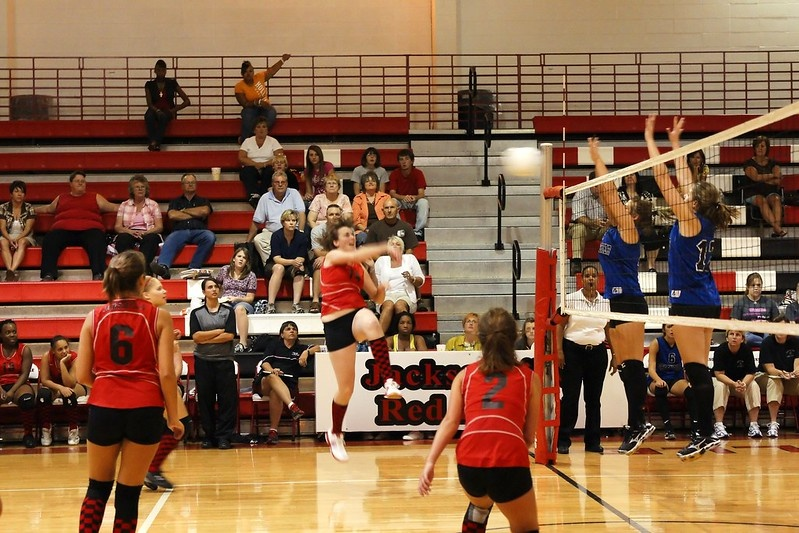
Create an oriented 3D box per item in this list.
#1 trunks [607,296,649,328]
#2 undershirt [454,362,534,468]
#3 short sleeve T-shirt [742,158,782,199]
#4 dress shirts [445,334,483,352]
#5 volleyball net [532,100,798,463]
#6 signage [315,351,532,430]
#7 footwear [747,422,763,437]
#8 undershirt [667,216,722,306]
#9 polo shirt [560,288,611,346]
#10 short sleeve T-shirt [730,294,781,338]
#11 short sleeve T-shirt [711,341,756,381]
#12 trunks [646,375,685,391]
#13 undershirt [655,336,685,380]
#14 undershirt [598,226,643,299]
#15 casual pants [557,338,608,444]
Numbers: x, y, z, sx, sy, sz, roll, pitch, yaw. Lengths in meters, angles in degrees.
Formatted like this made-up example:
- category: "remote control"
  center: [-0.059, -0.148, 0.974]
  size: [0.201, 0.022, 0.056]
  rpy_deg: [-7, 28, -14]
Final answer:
- category: "trunks"
  center: [3.361, 0.623, 18.214]
  size: [0.507, 0.518, 0.378]
  rpy_deg: [0, 4, -4]
- category: "undershirt"
  center: [1.211, 1.978, 15.891]
  size: [1.008, 1.490, 0.766]
  rpy_deg: [3, -28, 5]
- category: "short sleeve T-shirt"
  center: [5.237, -1.244, 17.999]
  size: [0.516, 0.726, 0.672]
  rpy_deg: [-2, -20, 11]
- category: "dress shirts"
  center: [1.034, 1.258, 20.039]
  size: [0.440, 0.354, 0.252]
  rpy_deg: [-1, -22, 6]
- category: "volleyball net"
  center: [4.142, 0.520, 19.244]
  size: [0.866, 4.588, 5.730]
  rpy_deg: [3, -2, -38]
- category: "signage"
  center: [0.286, 2.062, 20.387]
  size: [3.613, 1.354, 0.061]
  rpy_deg: [4, -1, -38]
- category: "footwear"
  center: [5.788, 2.697, 20.235]
  size: [0.133, 0.152, 0.325]
  rpy_deg: [-2, -6, 4]
- category: "undershirt"
  center: [4.119, -0.090, 17.555]
  size: [0.652, 1.365, 0.908]
  rpy_deg: [-2, -1, 9]
- category: "polo shirt"
  center: [2.777, 0.773, 18.849]
  size: [0.779, 0.850, 0.459]
  rpy_deg: [1, 5, -9]
- category: "short sleeve T-shirt"
  center: [5.799, 0.747, 20.297]
  size: [0.832, 0.729, 0.447]
  rpy_deg: [0, -3, -3]
- category: "short sleeve T-shirt"
  center: [5.509, 1.589, 20.530]
  size: [0.718, 0.695, 0.422]
  rpy_deg: [3, 2, 11]
- category: "trunks"
  center: [4.346, 1.904, 20.173]
  size: [0.356, 0.157, 0.373]
  rpy_deg: [-1, -1, 29]
- category: "undershirt"
  center: [4.450, 1.603, 20.513]
  size: [0.555, 0.842, 0.454]
  rpy_deg: [4, -7, 12]
- category: "undershirt"
  center: [3.278, -0.035, 18.995]
  size: [0.816, 1.560, 1.146]
  rpy_deg: [-1, -2, 9]
- category: "casual pants"
  center: [2.857, 1.997, 19.424]
  size: [0.682, 1.625, 0.501]
  rpy_deg: [9, -6, 19]
